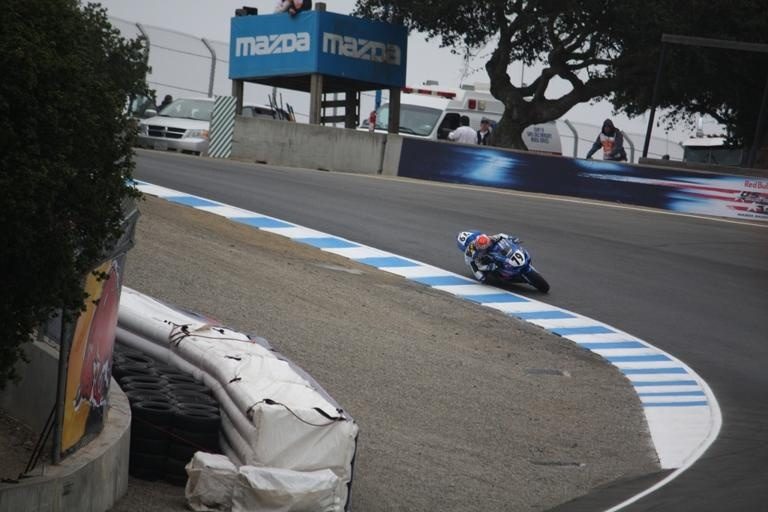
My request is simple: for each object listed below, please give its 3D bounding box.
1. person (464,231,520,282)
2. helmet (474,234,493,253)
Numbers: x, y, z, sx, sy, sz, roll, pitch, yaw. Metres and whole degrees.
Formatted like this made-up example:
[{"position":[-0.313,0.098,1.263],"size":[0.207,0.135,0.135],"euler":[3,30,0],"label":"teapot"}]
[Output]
[{"position":[1.886,-0.082,12.352],"size":[0.669,0.627,1.206],"euler":[32,-13,-26],"label":"person"},{"position":[1.778,-0.268,12.294],"size":[0.246,0.350,0.320],"euler":[1,5,8],"label":"helmet"}]
